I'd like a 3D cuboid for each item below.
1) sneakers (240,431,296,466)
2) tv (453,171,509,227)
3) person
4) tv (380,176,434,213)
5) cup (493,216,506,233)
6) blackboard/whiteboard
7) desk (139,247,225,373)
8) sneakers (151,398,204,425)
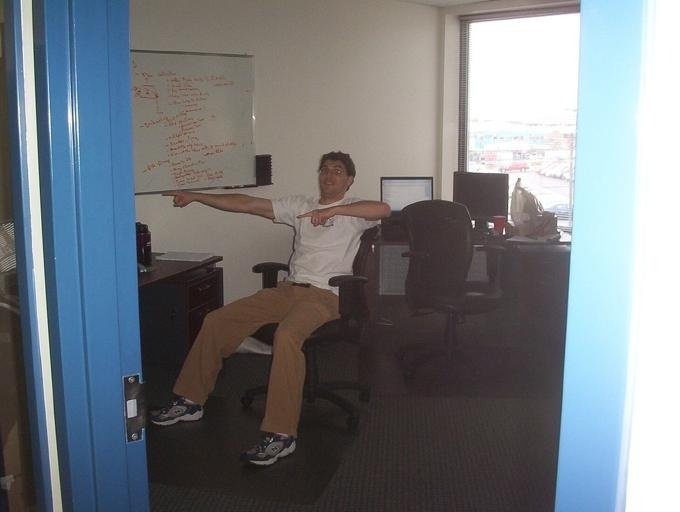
[{"bbox_3d":[-0.312,0.866,2.617,0.273,0.199,0.104,1,0,-33],"label":"sneakers"},{"bbox_3d":[1.088,-0.433,4.294,0.437,0.417,0.143,6,10,39],"label":"tv"},{"bbox_3d":[-0.329,0.144,2.966,0.853,1.356,1.115,7,13,32],"label":"person"},{"bbox_3d":[0.542,-0.499,4.538,0.438,0.303,0.282,1,2,7],"label":"tv"},{"bbox_3d":[1.243,-0.249,4.358,0.104,0.154,0.097,3,-12,1],"label":"cup"},{"bbox_3d":[-1.089,-1.026,4.295,1.176,1.033,0.090,4,8,23],"label":"blackboard/whiteboard"},{"bbox_3d":[-0.985,0.345,3.493,0.332,0.567,0.563,5,11,17],"label":"desk"},{"bbox_3d":[-0.829,0.790,2.902,0.293,0.145,0.112,1,-1,-14],"label":"sneakers"}]
